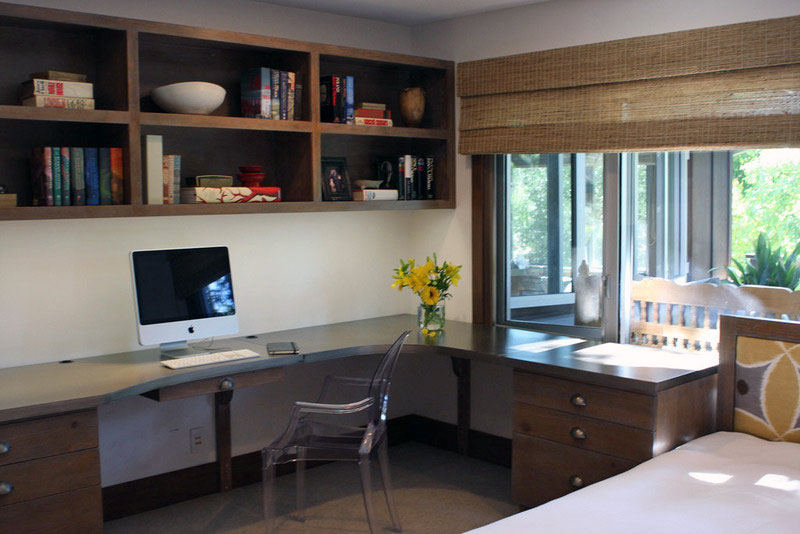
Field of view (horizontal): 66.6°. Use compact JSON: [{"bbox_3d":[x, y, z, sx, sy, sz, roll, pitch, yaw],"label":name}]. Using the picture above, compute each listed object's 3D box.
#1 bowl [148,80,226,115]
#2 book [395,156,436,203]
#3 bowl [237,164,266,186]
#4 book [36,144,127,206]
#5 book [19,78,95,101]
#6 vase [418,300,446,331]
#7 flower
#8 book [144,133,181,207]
[{"bbox_3d":[-1.180,-0.947,3.413,0.368,0.197,0.172,-5,9,-24],"label":"bowl"},{"bbox_3d":[0.153,-0.566,4.303,0.297,0.343,0.382,0,1,12],"label":"book"},{"bbox_3d":[-0.898,-0.541,3.673,0.143,0.092,0.142,-2,0,0],"label":"bowl"},{"bbox_3d":[-1.625,-0.462,3.128,0.398,0.284,0.061,-5,9,-24],"label":"book"},{"bbox_3d":[-1.692,-0.892,3.060,0.170,0.036,0.165,-1,3,-39],"label":"book"},{"bbox_3d":[0.203,0.321,3.990,0.180,0.175,0.176,2,3,30],"label":"vase"},{"bbox_3d":[0.168,0.173,4.121,0.519,0.516,0.530,4,-4,-33],"label":"flower"},{"bbox_3d":[-1.277,-0.522,3.305,0.087,0.368,0.226,4,10,31],"label":"book"}]
